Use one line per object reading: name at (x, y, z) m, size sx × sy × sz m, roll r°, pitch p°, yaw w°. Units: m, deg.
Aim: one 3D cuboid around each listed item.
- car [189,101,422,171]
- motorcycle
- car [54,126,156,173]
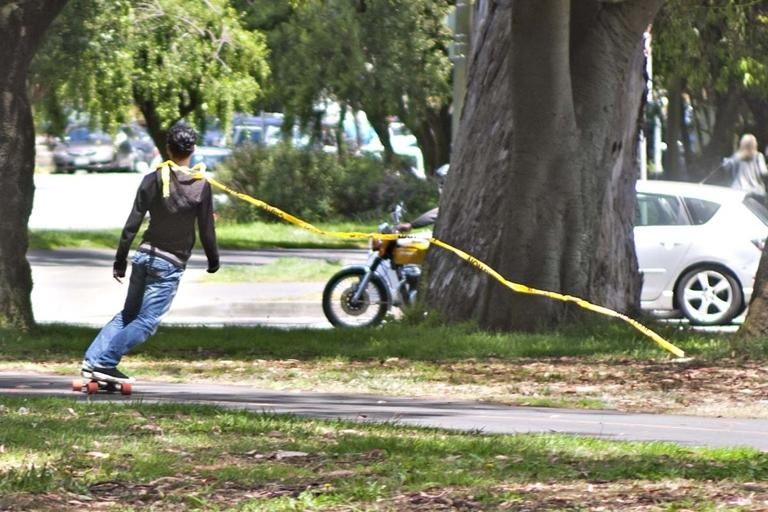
car at (-1.403, -3.304, 45.596) m, size 3.839 × 0.996 × 2.865 m, roll -2°, pitch 17°, yaw -6°
motorcycle at (-0.019, 0.195, 26.862) m, size 1.952 × 1.718 × 1.665 m, roll -7°, pitch 15°, yaw -27°
car at (-8.519, -3.457, 49.862) m, size 1.874 × 1.327 × 2.994 m, roll -1°, pitch -4°, yaw 14°
